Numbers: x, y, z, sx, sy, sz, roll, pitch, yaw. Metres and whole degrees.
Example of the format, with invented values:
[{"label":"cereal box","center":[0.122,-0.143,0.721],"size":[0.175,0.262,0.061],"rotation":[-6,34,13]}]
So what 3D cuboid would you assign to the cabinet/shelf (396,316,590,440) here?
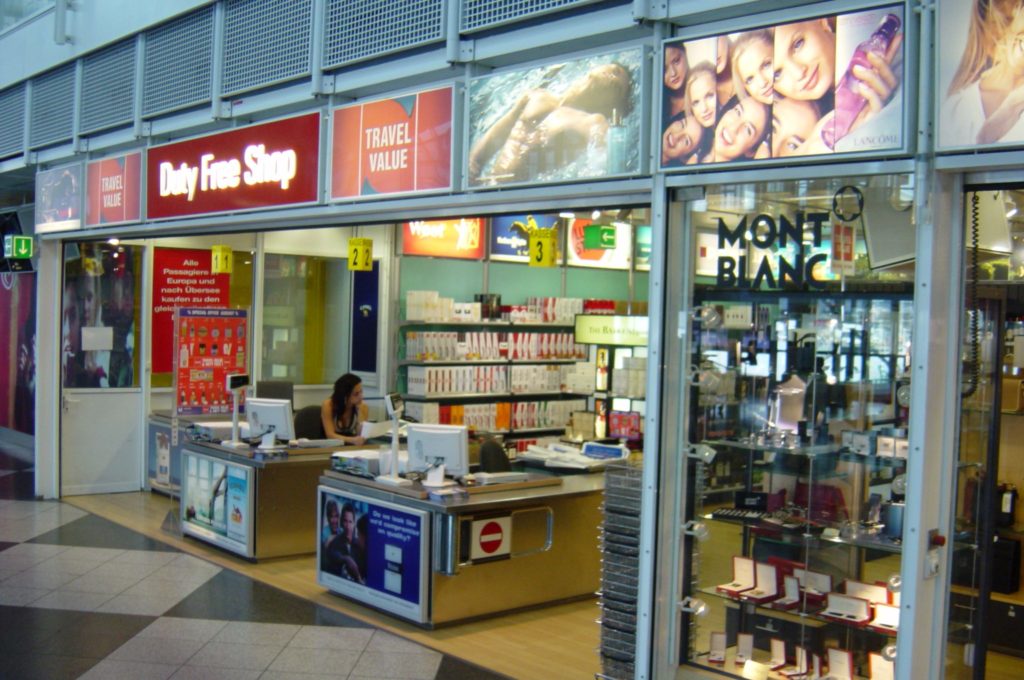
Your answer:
[{"label":"cabinet/shelf","center":[-0.109,0.703,11.860],"size":[1.996,1.041,0.375],"rotation":[-5,4,23]}]

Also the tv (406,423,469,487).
[{"label":"tv","center":[-0.636,0.928,7.485],"size":[0.520,0.466,0.254],"rotation":[1,4,14]}]

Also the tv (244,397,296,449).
[{"label":"tv","center":[-2.462,0.812,9.076],"size":[0.642,0.468,0.183],"rotation":[-1,-2,33]}]
